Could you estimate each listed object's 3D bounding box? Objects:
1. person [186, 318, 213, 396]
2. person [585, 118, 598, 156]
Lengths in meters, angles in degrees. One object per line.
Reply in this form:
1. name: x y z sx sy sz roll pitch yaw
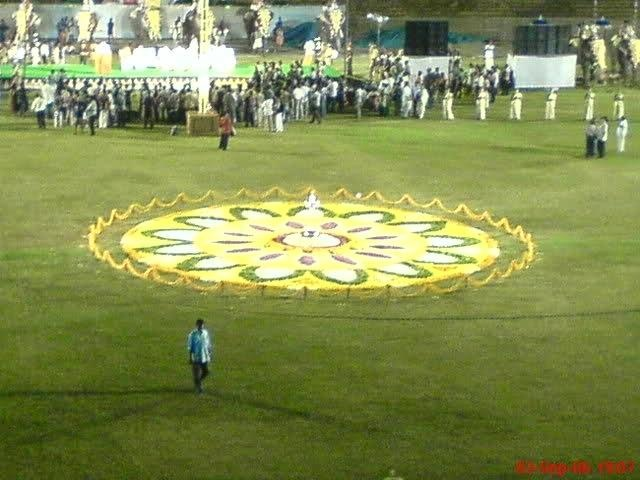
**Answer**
1. person: -3.526 3.447 44.690 0.649 2.118 0.710 4 8 39
2. person: 10.867 -4.038 60.494 0.484 1.540 1.380 0 6 10
